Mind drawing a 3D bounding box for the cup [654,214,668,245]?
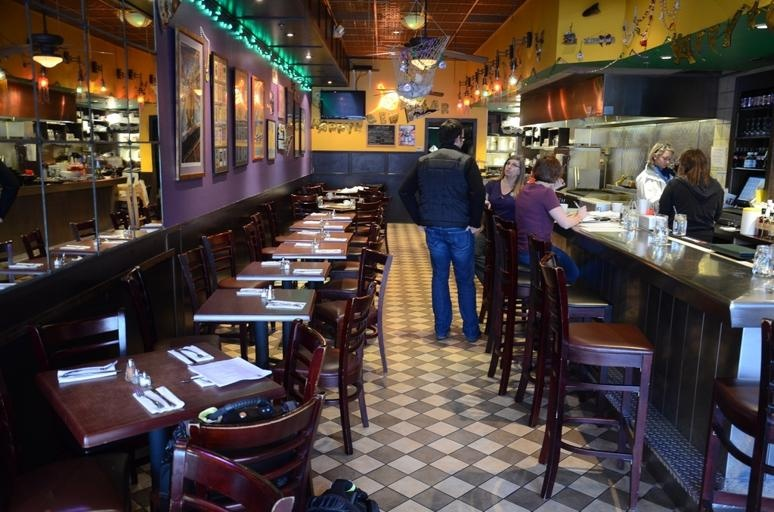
[{"bbox_3d":[2.416,-0.229,4.786,0.097,0.232,0.186,7,15,24],"label":"cup"}]

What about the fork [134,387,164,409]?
[{"bbox_3d":[-1.325,0.789,3.035,0.074,0.033,0.294,-5,17,-34],"label":"fork"}]

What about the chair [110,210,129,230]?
[{"bbox_3d":[-2.316,-0.314,4.712,0.118,0.171,0.130,3,17,-1],"label":"chair"}]

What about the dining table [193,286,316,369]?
[{"bbox_3d":[-0.961,0.642,4.167,0.608,0.588,0.555,7,22,-16],"label":"dining table"}]

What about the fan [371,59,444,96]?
[{"bbox_3d":[0.437,-4.160,12.754,1.829,0.653,1.778,-2,21,-9],"label":"fan"}]

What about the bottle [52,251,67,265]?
[{"bbox_3d":[-2.356,0.016,3.899,0.071,0.110,0.111,3,15,-6],"label":"bottle"}]

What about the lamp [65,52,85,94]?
[{"bbox_3d":[-2.307,-1.339,4.039,0.109,0.317,0.073,-12,23,-31],"label":"lamp"}]

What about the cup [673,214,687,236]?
[{"bbox_3d":[2.865,-0.300,5.316,0.111,0.221,0.364,7,15,26],"label":"cup"}]

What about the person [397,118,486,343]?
[{"bbox_3d":[0.669,-0.262,6.285,0.920,2.491,0.429,3,14,12],"label":"person"}]

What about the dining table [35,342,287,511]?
[{"bbox_3d":[-1.360,0.719,3.212,1.001,0.936,0.971,-9,19,-41],"label":"dining table"}]

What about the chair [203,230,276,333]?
[{"bbox_3d":[-1.609,0.283,5.926,0.618,0.952,0.580,7,14,11],"label":"chair"}]

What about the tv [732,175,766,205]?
[{"bbox_3d":[5.051,-0.920,7.562,0.113,0.464,0.477,16,29,5],"label":"tv"}]

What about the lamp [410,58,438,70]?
[{"bbox_3d":[0.641,-3.334,9.474,0.479,0.118,0.452,-3,14,-16],"label":"lamp"}]

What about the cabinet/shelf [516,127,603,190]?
[{"bbox_3d":[3.447,-2.026,10.904,1.226,1.097,0.422,-2,2,4],"label":"cabinet/shelf"}]

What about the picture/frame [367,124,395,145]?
[{"bbox_3d":[-0.170,-3.395,15.325,0.768,0.583,0.177,-2,14,-11],"label":"picture/frame"}]

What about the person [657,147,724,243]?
[{"bbox_3d":[3.479,-0.679,6.209,0.683,1.047,0.322,4,14,15],"label":"person"}]

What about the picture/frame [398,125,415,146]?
[{"bbox_3d":[0.540,-3.431,15.349,0.569,0.632,0.082,2,17,4],"label":"picture/frame"}]

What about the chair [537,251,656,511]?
[{"bbox_3d":[1.556,0.801,4.102,0.840,1.637,1.295,7,15,25],"label":"chair"}]

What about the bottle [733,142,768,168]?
[{"bbox_3d":[4.977,-1.338,7.435,0.237,0.285,0.533,0,13,0],"label":"bottle"}]

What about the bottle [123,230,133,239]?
[{"bbox_3d":[-2.323,-0.196,4.880,0.059,0.055,0.059,10,3,35],"label":"bottle"}]
